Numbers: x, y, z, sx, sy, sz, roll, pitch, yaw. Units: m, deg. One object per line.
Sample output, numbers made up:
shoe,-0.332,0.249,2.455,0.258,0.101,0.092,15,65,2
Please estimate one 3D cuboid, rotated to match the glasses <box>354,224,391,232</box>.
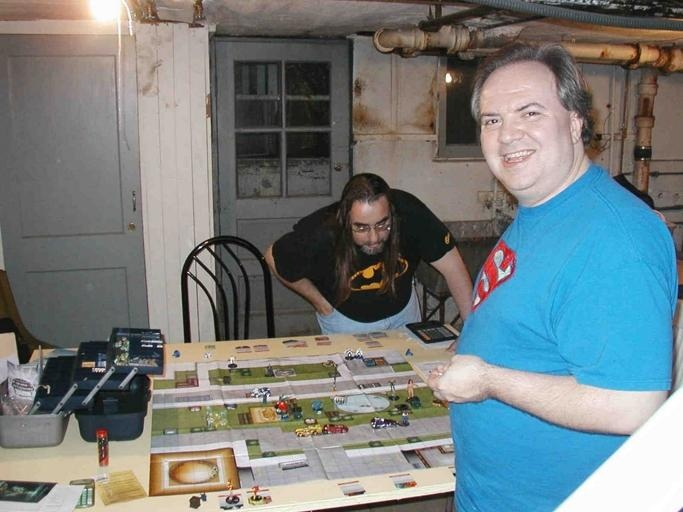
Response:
glasses,0.169,-0.150,3.039,0.205,0.049,0.062,-4,10,-5
